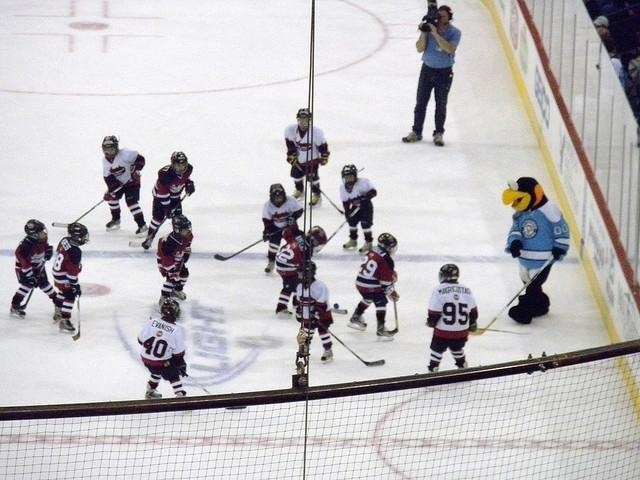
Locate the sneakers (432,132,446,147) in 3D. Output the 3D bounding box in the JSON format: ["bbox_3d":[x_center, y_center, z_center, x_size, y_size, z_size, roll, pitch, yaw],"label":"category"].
[{"bbox_3d":[1.826,-1.536,17.249,0.206,0.242,0.571,0,5,0],"label":"sneakers"}]

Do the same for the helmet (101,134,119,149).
[{"bbox_3d":[-2.831,-1.337,15.471,0.213,0.239,0.262,-7,-17,-6],"label":"helmet"}]

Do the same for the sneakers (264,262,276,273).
[{"bbox_3d":[-0.651,0.368,14.965,0.068,0.081,0.194,2,19,10],"label":"sneakers"}]

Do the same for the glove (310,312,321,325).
[{"bbox_3d":[-0.041,0.899,13.097,0.118,0.152,0.062,0,-29,-13],"label":"glove"}]

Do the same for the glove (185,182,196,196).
[{"bbox_3d":[-1.763,-0.707,15.527,0.133,0.171,0.064,16,5,7],"label":"glove"}]

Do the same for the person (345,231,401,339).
[{"bbox_3d":[0.686,0.545,13.630,0.593,1.253,0.449,10,17,22],"label":"person"}]

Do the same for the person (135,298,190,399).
[{"bbox_3d":[-1.719,1.271,12.518,0.541,1.141,0.714,1,16,-7],"label":"person"}]

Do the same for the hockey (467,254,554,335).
[{"bbox_3d":[2.390,0.717,14.010,0.142,1.219,0.168,45,1,11],"label":"hockey"}]

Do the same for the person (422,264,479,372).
[{"bbox_3d":[1.483,0.933,12.807,0.536,1.252,0.599,15,20,35],"label":"person"}]

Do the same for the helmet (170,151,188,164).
[{"bbox_3d":[-1.872,-1.064,15.131,0.212,0.241,0.249,-2,23,-8],"label":"helmet"}]

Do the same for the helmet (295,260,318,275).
[{"bbox_3d":[-0.116,0.299,12.714,0.172,0.123,0.221,2,-13,-37],"label":"helmet"}]

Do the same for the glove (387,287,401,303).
[{"bbox_3d":[0.891,0.654,13.550,0.176,0.155,0.061,39,-20,8],"label":"glove"}]

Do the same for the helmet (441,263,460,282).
[{"bbox_3d":[1.505,0.374,12.891,0.222,0.200,0.169,3,-1,3],"label":"helmet"}]

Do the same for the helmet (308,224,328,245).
[{"bbox_3d":[-0.009,-0.034,13.736,0.171,0.259,0.481,3,15,-2],"label":"helmet"}]

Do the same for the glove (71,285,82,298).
[{"bbox_3d":[-2.955,0.611,13.743,0.105,0.135,0.140,12,-20,-13],"label":"glove"}]

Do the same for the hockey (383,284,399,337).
[{"bbox_3d":[0.867,0.871,13.791,0.219,0.873,0.094,-17,46,-12],"label":"hockey"}]

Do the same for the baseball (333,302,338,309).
[{"bbox_3d":[0.214,0.822,14.204,0.066,0.057,0.065,-4,17,29],"label":"baseball"}]

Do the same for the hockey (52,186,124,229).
[{"bbox_3d":[-3.274,-0.441,16.094,0.147,0.098,1.017,12,39,29],"label":"hockey"}]

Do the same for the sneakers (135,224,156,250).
[{"bbox_3d":[-2.335,-0.075,15.431,0.139,0.398,0.175,23,-12,13],"label":"sneakers"}]

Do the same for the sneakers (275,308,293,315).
[{"bbox_3d":[-0.433,0.890,14.121,0.215,0.087,0.069,0,25,-13],"label":"sneakers"}]

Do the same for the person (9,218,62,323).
[{"bbox_3d":[-3.563,0.443,14.219,0.819,1.331,0.530,18,38,8],"label":"person"}]

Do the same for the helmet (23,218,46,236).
[{"bbox_3d":[-3.467,-0.175,13.806,0.241,0.225,0.185,-4,34,3],"label":"helmet"}]

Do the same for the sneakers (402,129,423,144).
[{"bbox_3d":[1.433,-1.602,17.404,0.323,0.142,0.142,-4,41,-1],"label":"sneakers"}]

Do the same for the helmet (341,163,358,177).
[{"bbox_3d":[0.402,-0.921,14.986,0.178,0.187,0.190,-1,-16,0],"label":"helmet"}]

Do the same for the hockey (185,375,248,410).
[{"bbox_3d":[-1.005,1.651,12.705,1.052,0.042,0.370,10,6,24],"label":"hockey"}]

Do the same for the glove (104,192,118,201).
[{"bbox_3d":[-2.882,-0.589,15.608,0.154,0.158,0.144,-1,16,-14],"label":"glove"}]

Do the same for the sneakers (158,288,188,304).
[{"bbox_3d":[-1.803,0.711,14.284,0.404,0.170,0.125,-10,39,-13],"label":"sneakers"}]

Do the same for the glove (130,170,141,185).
[{"bbox_3d":[-2.509,-0.879,15.608,0.108,0.207,0.189,11,17,24],"label":"glove"}]

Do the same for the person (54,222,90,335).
[{"bbox_3d":[-3.023,0.466,13.775,0.333,1.334,0.324,7,17,12],"label":"person"}]

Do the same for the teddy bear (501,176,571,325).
[{"bbox_3d":[2.584,0.131,13.744,0.825,1.797,0.336,6,16,8],"label":"teddy bear"}]

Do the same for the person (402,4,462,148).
[{"bbox_3d":[1.718,-2.452,16.979,0.665,2.088,0.547,6,16,8],"label":"person"}]

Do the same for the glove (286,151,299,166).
[{"bbox_3d":[-0.358,-1.161,16.126,0.155,0.142,0.053,7,14,12],"label":"glove"}]

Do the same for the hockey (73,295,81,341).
[{"bbox_3d":[-2.976,0.971,13.902,0.064,0.547,0.086,5,-5,0],"label":"hockey"}]

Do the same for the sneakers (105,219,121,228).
[{"bbox_3d":[-2.876,-0.225,15.845,0.235,0.154,0.078,-3,36,-12],"label":"sneakers"}]

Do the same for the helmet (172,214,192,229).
[{"bbox_3d":[-1.702,-0.206,14.016,0.253,0.224,0.190,-5,25,-1],"label":"helmet"}]

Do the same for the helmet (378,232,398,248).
[{"bbox_3d":[0.825,0.015,13.533,0.213,0.158,0.153,-7,32,6],"label":"helmet"}]

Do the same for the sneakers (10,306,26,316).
[{"bbox_3d":[-3.749,0.887,14.088,0.187,0.117,0.095,0,27,-15],"label":"sneakers"}]

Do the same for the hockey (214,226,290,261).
[{"bbox_3d":[-0.888,0.059,15.155,1.077,0.179,0.117,-16,52,9],"label":"hockey"}]

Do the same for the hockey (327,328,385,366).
[{"bbox_3d":[0.380,1.276,13.349,0.532,0.325,0.693,-9,19,-39],"label":"hockey"}]
